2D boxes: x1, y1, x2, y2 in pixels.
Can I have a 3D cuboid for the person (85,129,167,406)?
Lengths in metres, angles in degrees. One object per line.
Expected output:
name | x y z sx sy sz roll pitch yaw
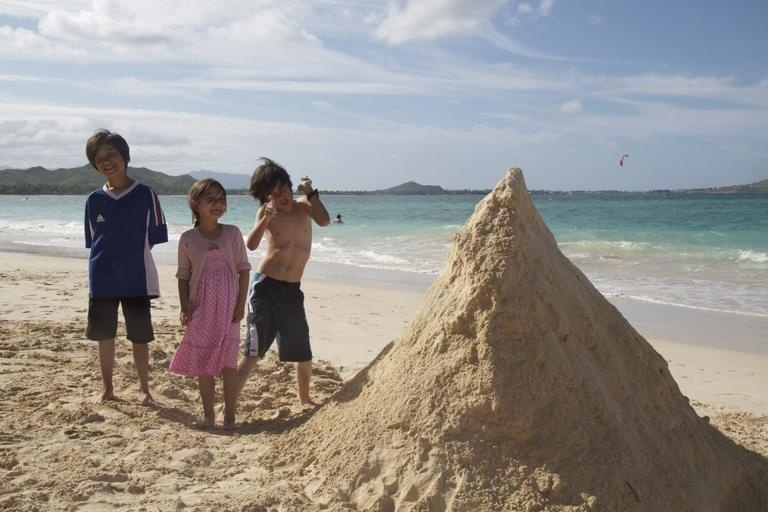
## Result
person | -2.270 0.084 5.257 0.727 2.272 0.740 2 12 -4

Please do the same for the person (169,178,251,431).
person | -1.435 0.368 5.007 0.603 1.952 0.656 1 12 -10

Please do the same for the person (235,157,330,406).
person | -0.883 0.238 5.312 0.788 2.173 0.666 -1 12 -19
